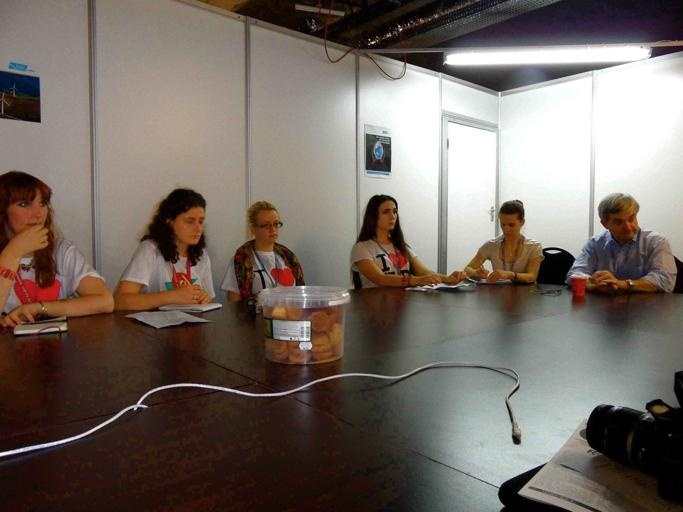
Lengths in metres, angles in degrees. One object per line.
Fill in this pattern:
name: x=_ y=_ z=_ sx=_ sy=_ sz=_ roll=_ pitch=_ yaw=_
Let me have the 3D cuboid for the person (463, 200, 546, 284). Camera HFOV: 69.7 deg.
person: x=1.252 y=-0.017 z=3.733 sx=0.542 sy=0.764 sz=0.566 roll=-5 pitch=7 yaw=-32

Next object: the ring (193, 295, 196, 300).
ring: x=-0.681 y=0.194 z=2.285 sx=0.015 sy=0.015 sz=0.004 roll=-6 pitch=-2 yaw=-41

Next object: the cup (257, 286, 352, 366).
cup: x=-0.106 y=0.185 z=1.447 sx=0.278 sy=0.217 sz=0.289 roll=-1 pitch=5 yaw=0

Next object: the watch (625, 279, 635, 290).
watch: x=1.628 y=0.162 z=2.778 sx=0.036 sy=0.072 sz=0.050 roll=-3 pitch=6 yaw=2

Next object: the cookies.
cookies: x=-0.100 y=0.189 z=1.346 sx=0.173 sy=0.115 sz=0.180 roll=0 pitch=-3 yaw=-4

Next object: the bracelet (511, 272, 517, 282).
bracelet: x=1.166 y=0.147 z=3.308 sx=0.040 sy=0.043 sz=0.040 roll=8 pitch=10 yaw=42

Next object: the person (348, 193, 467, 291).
person: x=0.405 y=-0.077 z=3.414 sx=0.642 sy=0.666 sz=0.724 roll=-1 pitch=8 yaw=-5

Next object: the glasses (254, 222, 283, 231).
glasses: x=-0.494 y=-0.192 z=3.200 sx=0.099 sy=0.031 sz=0.098 roll=-2 pitch=0 yaw=39
